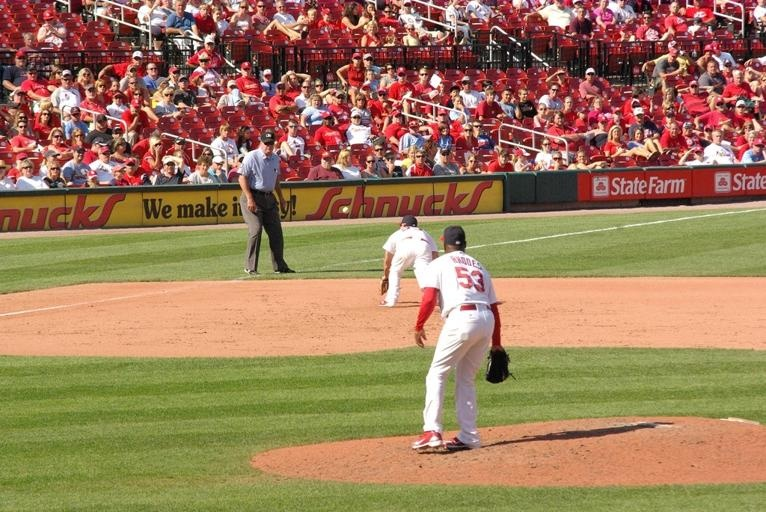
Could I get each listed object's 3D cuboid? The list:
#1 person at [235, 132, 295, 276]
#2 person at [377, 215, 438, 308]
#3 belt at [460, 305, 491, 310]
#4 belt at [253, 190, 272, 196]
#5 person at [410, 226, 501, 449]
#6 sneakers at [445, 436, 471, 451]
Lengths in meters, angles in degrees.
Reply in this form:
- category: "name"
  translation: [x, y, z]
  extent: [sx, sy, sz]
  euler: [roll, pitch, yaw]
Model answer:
- category: "person"
  translation: [-2.547, -1.130, 39.921]
  extent: [1.012, 3.142, 0.984]
  euler: [-1, 8, 5]
- category: "person"
  translation: [0.450, 0.123, 37.070]
  extent: [1.139, 1.758, 0.612]
  euler: [0, -8, 1]
- category: "belt"
  translation: [1.589, 0.909, 32.093]
  extent: [0.546, 0.102, 0.087]
  euler: [-3, 8, -11]
- category: "belt"
  translation: [-2.599, -1.351, 39.673]
  extent: [0.445, 0.148, 0.129]
  euler: [-6, 9, -35]
- category: "person"
  translation: [1.311, 1.481, 32.224]
  extent: [1.537, 3.851, 0.925]
  euler: [-1, 8, -1]
- category: "sneakers"
  translation: [1.294, 3.319, 32.210]
  extent: [0.405, 0.156, 0.225]
  euler: [4, 1, 1]
